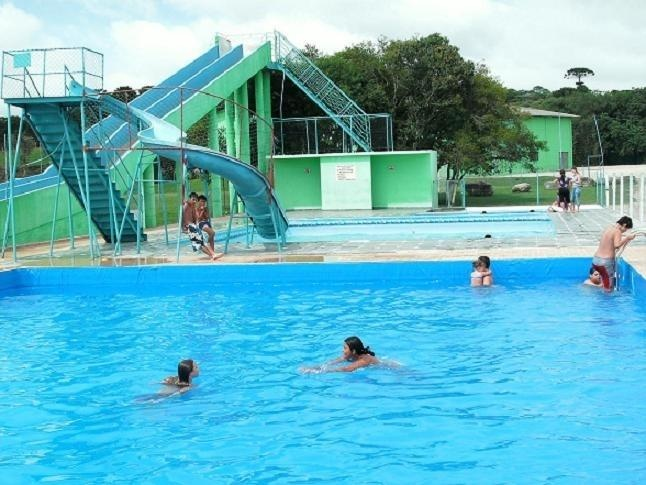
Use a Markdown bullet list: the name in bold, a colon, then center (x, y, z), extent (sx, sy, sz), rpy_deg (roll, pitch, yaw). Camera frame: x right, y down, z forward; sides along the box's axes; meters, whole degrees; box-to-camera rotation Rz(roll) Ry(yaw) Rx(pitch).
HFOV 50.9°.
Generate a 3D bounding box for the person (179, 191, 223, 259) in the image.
- **person**: center (-2.597, -0.313, 14.327), extent (0.648, 1.450, 1.754), rpy_deg (-4, 13, -11)

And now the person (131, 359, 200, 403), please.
- **person**: center (-1.781, 1.641, 7.730), extent (0.307, 0.250, 0.755), rpy_deg (13, 20, 26)

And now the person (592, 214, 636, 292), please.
- **person**: center (4.852, 0.187, 11.382), extent (0.637, 1.252, 0.711), rpy_deg (3, 13, 21)

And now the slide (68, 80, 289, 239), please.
- **slide**: center (-4.025, -2.333, 19.201), extent (6.182, 3.714, 2.208), rpy_deg (8, 20, -13)
